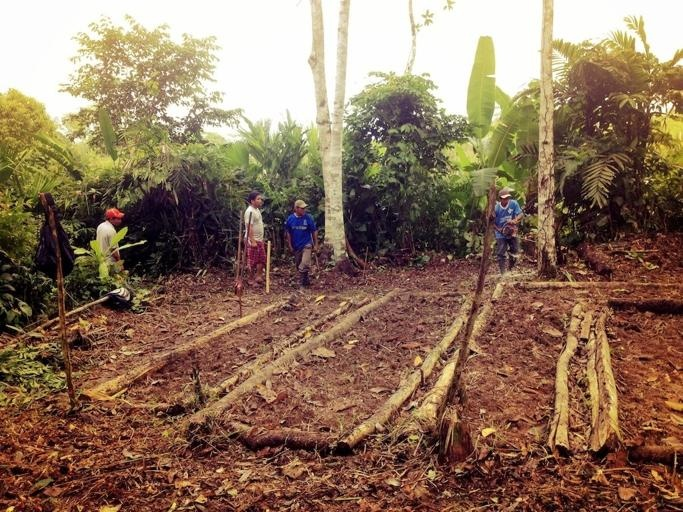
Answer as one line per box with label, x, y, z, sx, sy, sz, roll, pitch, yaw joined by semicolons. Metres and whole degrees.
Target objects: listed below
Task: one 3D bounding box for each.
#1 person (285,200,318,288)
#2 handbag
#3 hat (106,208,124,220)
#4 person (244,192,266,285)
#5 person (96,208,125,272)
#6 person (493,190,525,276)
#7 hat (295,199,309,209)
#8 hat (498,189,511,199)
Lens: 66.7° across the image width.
person;-0.840;-0.344;11.107;0.636;1.765;1.123;-3;14;-11
handbag;-3.636;-0.253;6.654;0.508;1.134;0.434;-4;-9;-27
hat;-4.377;-0.808;10.114;0.328;0.198;0.238;-10;25;-43
person;-1.812;-0.396;10.904;0.400;1.919;0.777;-2;14;-6
person;-4.431;-0.314;10.006;0.478;1.125;0.913;-5;15;-20
person;3.407;-0.496;10.664;0.543;1.805;1.203;4;15;17
hat;-0.855;-1.100;10.920;0.197;0.206;0.579;0;15;-2
hat;3.256;-1.233;10.354;0.173;0.222;0.236;4;15;16
